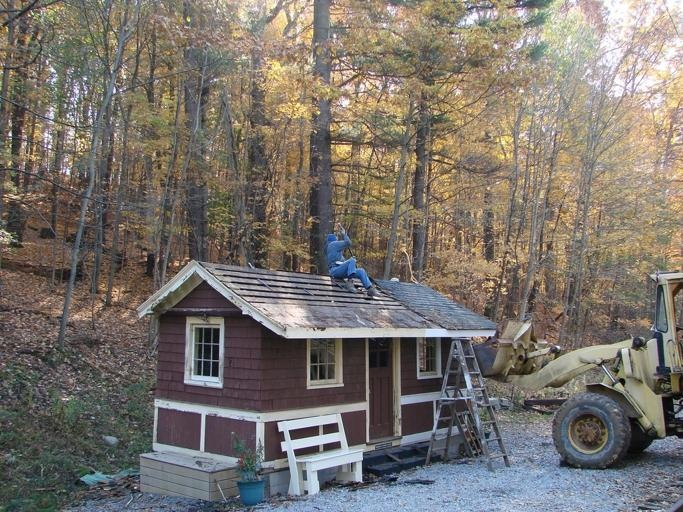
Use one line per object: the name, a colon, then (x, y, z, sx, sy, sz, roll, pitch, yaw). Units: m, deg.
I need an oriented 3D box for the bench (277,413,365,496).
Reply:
bench: (-0.393, 5.136, 18.824, 0.999, 1.826, 2.026, -6, -7, 42)
